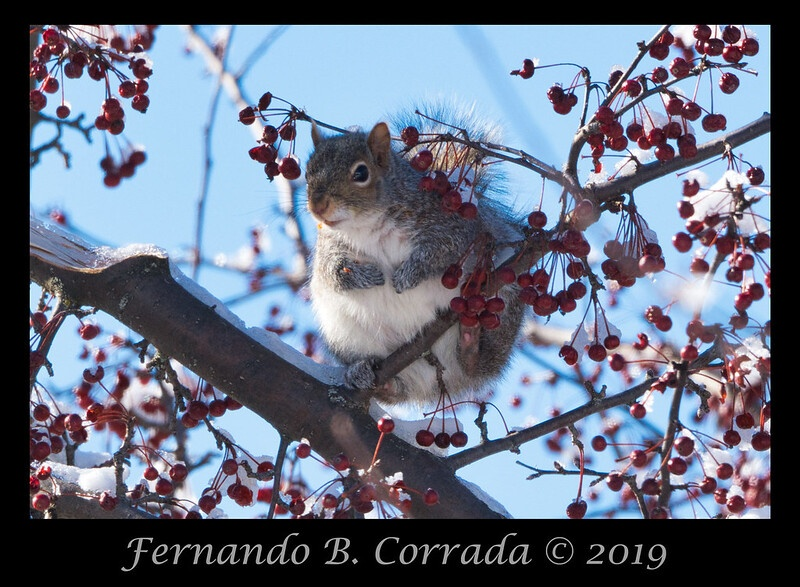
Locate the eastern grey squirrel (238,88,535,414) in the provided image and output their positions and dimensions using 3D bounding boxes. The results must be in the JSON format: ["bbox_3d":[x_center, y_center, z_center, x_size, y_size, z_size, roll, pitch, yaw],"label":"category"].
[{"bbox_3d":[-0.024,-0.170,8.921,1.248,2.234,2.139,0,6,3],"label":"eastern grey squirrel"}]
